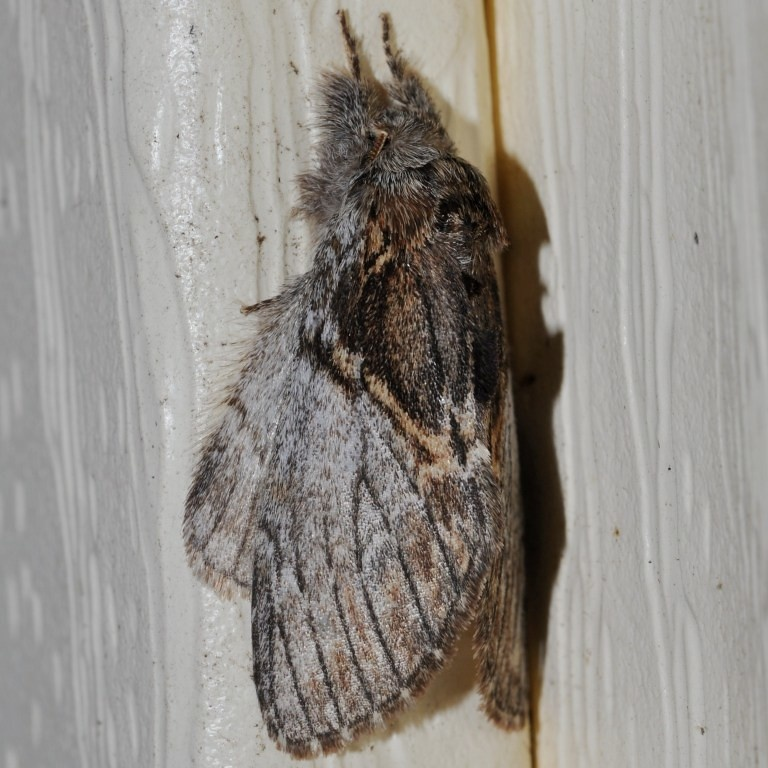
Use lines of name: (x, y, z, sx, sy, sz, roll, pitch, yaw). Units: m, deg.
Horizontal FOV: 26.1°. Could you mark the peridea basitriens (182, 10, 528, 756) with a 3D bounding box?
peridea basitriens: (-0.013, 0.034, 1.607, 0.340, 0.173, 0.730, -5, 94, -31)
